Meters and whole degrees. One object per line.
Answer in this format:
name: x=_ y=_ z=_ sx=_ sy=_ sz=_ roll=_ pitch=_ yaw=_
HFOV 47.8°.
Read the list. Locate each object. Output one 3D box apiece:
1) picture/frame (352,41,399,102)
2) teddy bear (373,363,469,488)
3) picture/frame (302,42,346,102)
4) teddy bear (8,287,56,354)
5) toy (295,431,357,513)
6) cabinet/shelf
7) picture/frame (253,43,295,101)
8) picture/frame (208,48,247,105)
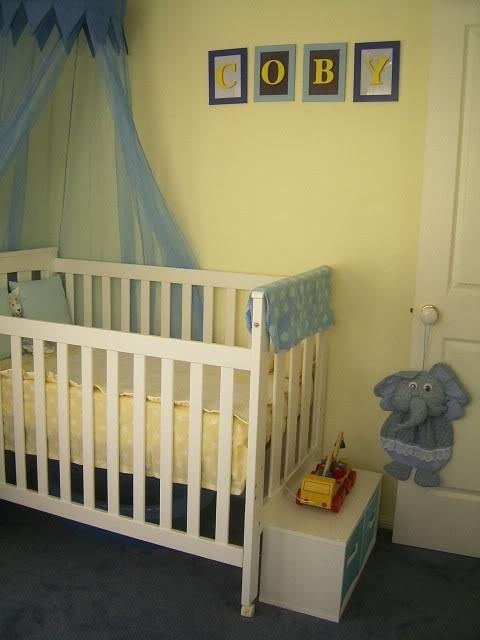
picture/frame: x=0.470 y=-0.857 z=1.853 sx=0.137 sy=0.231 sz=0.014 roll=9 pitch=20 yaw=29
teddy bear: x=0.621 y=0.354 z=1.821 sx=0.261 sy=0.483 sz=0.195 roll=9 pitch=18 yaw=37
picture/frame: x=0.302 y=-0.881 z=1.941 sx=0.138 sy=0.241 sz=0.011 roll=2 pitch=-17 yaw=9
teddy bear: x=-0.831 y=-0.011 z=2.178 sx=0.051 sy=0.251 sz=0.215 roll=-6 pitch=-20 yaw=4
toy: x=0.278 y=0.416 z=1.710 sx=0.127 sy=0.266 sz=0.284 roll=7 pitch=18 yaw=23
cabinet/shelf: x=0.221 y=0.540 z=1.593 sx=0.196 sy=0.263 sz=0.450 roll=4 pitch=18 yaw=18
picture/frame: x=0.127 y=-0.915 z=2.015 sx=0.148 sy=0.259 sz=0.012 roll=1 pitch=-18 yaw=6
picture/frame: x=-0.046 y=-0.936 z=2.088 sx=0.152 sy=0.008 sz=0.228 roll=-7 pitch=-31 yaw=-6
